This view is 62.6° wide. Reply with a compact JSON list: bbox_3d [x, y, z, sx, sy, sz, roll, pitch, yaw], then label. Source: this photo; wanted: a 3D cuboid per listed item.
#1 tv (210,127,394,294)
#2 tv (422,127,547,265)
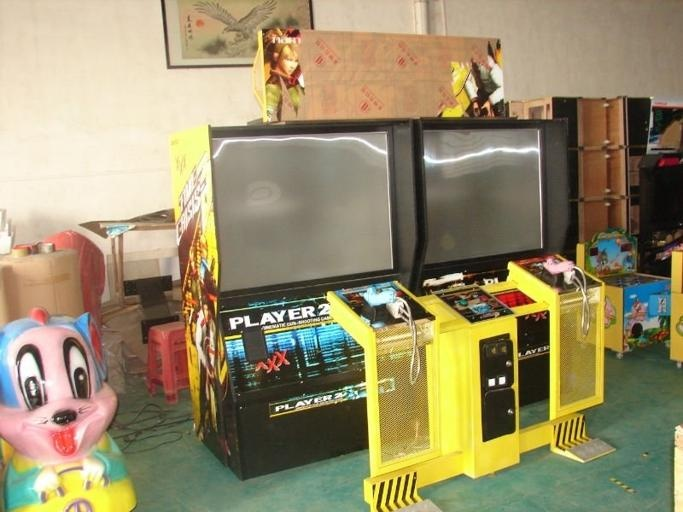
[{"bbox_3d":[-0.326,-0.336,3.875,1.064,0.857,0.036,-9,10,-23],"label":"tv"},{"bbox_3d":[1.068,-0.491,4.360,0.983,0.888,0.102,-7,8,-23],"label":"tv"}]
